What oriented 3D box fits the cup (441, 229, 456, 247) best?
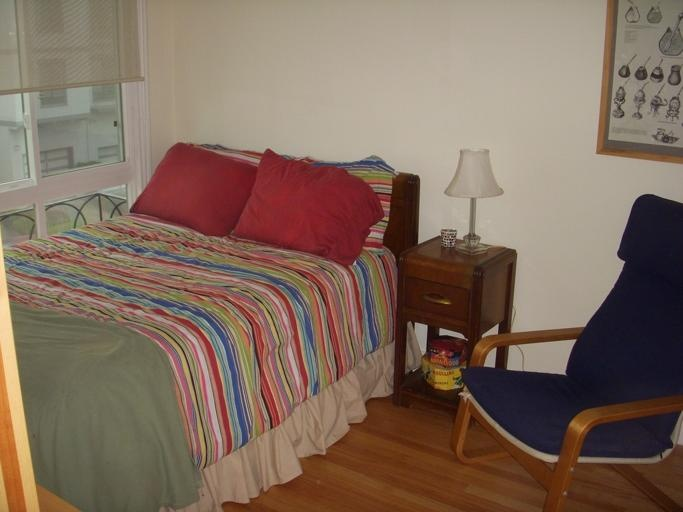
[{"bbox_3d":[0.593,-0.100,3.131,0.090,0.102,0.089,1,7,0],"label":"cup"}]
